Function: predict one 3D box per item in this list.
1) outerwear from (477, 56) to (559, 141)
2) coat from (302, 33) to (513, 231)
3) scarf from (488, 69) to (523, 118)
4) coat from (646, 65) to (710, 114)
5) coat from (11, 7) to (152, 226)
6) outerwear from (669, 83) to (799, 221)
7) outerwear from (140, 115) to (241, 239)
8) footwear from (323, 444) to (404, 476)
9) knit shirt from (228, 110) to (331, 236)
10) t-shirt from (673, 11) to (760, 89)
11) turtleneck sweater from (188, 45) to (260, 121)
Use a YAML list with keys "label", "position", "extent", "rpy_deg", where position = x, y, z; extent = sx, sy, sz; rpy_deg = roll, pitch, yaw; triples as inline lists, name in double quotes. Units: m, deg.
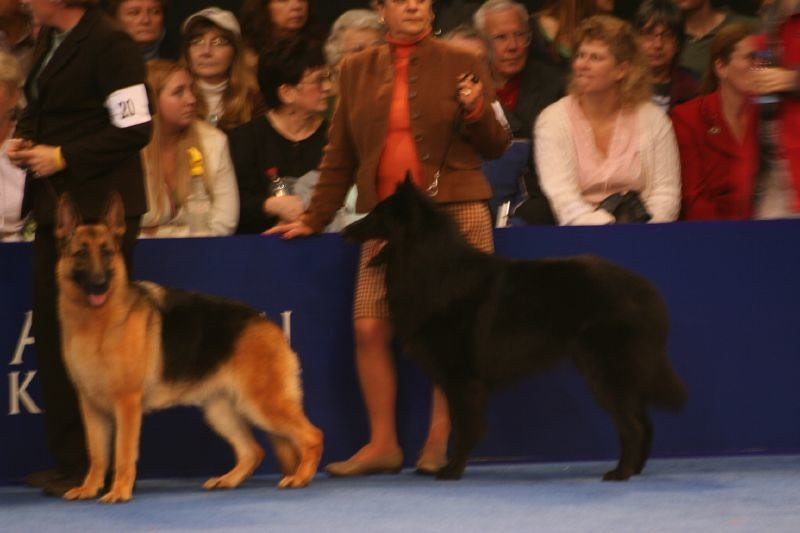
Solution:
- label: "outerwear"
  position: [0.960, -1.271, 9.024]
  extent: [0.670, 0.607, 0.234]
  rpy_deg: [6, -4, 19]
- label: "coat"
  position: [0.018, -0.862, 7.833]
  extent: [1.360, 1.230, 0.696]
  rpy_deg: [-4, 1, 20]
- label: "scarf"
  position: [0.820, -1.306, 9.185]
  extent: [0.294, 0.358, 0.153]
  rpy_deg: [-5, -4, 9]
- label: "coat"
  position: [2.057, -1.298, 8.946]
  extent: [0.395, 0.384, 0.222]
  rpy_deg: [13, -2, 7]
- label: "coat"
  position: [-1.918, -0.915, 7.435]
  extent: [0.814, 1.264, 0.481]
  rpy_deg: [4, 19, 3]
- label: "outerwear"
  position: [2.354, -0.767, 8.422]
  extent: [0.979, 1.155, 0.661]
  rpy_deg: [2, -9, -7]
- label: "outerwear"
  position: [-1.330, -0.597, 8.351]
  extent: [0.666, 0.786, 0.268]
  rpy_deg: [-2, -2, -22]
- label: "footwear"
  position: [-0.196, 1.248, 7.913]
  extent: [0.583, 0.228, 0.171]
  rpy_deg: [1, -3, -6]
- label: "knit shirt"
  position: [-0.831, -0.627, 8.462]
  extent: [0.942, 0.962, 0.563]
  rpy_deg: [1, -6, -5]
- label: "t-shirt"
  position: [2.320, -1.690, 9.421]
  extent: [0.661, 0.612, 0.440]
  rpy_deg: [-2, 3, -43]
- label: "turtleneck sweater"
  position: [-1.219, -1.268, 8.743]
  extent: [0.468, 0.553, 0.223]
  rpy_deg: [-4, -2, -5]
